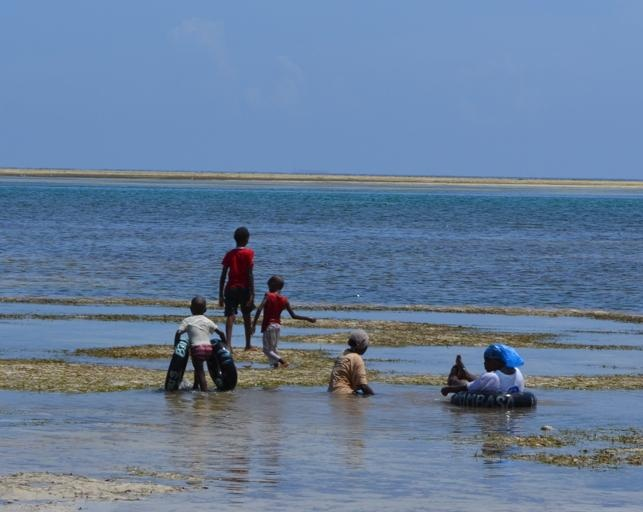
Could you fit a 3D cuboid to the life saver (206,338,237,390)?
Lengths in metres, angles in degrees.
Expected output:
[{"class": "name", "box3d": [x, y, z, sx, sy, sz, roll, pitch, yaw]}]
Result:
[{"class": "life saver", "box3d": [-1.997, 2.288, 36.360, 0.307, 0.787, 0.867, -17, 9, -9]}]

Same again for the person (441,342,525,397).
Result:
[{"class": "person", "box3d": [3.354, 2.276, 35.997, 1.521, 0.883, 1.069, -1, 2, 31]}]

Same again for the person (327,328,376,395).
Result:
[{"class": "person", "box3d": [0.612, 2.185, 36.437, 0.917, 1.140, 0.443, 1, 0, 1]}]
